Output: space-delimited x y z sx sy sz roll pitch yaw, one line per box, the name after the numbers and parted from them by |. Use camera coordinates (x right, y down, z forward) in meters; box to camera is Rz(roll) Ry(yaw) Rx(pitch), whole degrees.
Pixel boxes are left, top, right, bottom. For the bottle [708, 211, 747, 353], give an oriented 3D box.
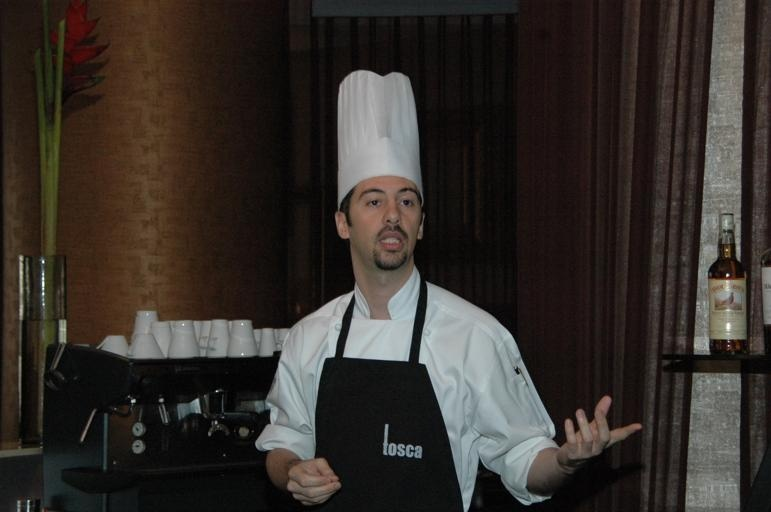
1.428 0.117 3.552 0.150 0.569 0.348 -1 -3 23 | bottle

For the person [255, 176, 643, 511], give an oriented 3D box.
0.280 0.382 3.519 1.540 1.487 0.664 1 -2 12 | person
